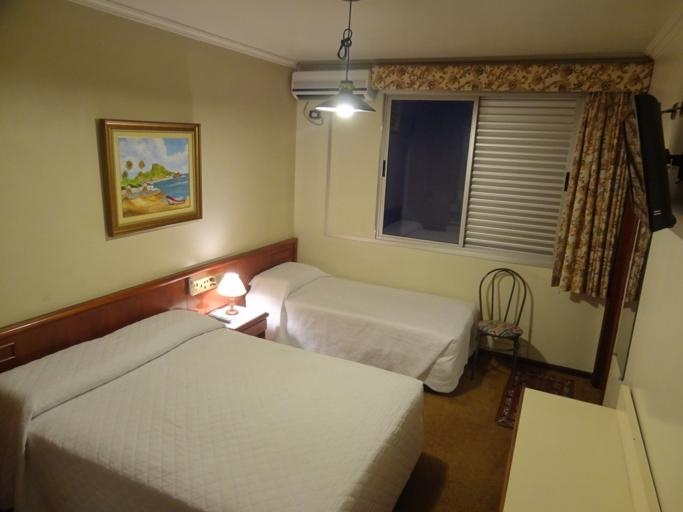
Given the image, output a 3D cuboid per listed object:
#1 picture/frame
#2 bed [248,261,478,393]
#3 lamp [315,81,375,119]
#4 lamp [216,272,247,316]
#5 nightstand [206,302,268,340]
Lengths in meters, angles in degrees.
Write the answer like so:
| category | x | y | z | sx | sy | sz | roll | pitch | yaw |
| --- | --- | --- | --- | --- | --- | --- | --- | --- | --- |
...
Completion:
| category | x | y | z | sx | sy | sz | roll | pitch | yaw |
| --- | --- | --- | --- | --- | --- | --- | --- | --- | --- |
| picture/frame | -1.582 | -0.650 | 3.863 | 0.073 | 0.808 | 0.907 | 9 | 16 | 25 |
| bed | 0.246 | 0.608 | 4.746 | 1.847 | 0.690 | 1.211 | 12 | 26 | 21 |
| lamp | 0.036 | -1.212 | 3.623 | 0.425 | 0.284 | 0.440 | 9 | -3 | 2 |
| lamp | -1.046 | 0.372 | 4.557 | 0.202 | 0.343 | 0.222 | 2 | 9 | -4 |
| nightstand | -0.969 | 0.586 | 4.521 | 0.345 | 0.391 | 0.365 | 13 | 21 | 19 |
